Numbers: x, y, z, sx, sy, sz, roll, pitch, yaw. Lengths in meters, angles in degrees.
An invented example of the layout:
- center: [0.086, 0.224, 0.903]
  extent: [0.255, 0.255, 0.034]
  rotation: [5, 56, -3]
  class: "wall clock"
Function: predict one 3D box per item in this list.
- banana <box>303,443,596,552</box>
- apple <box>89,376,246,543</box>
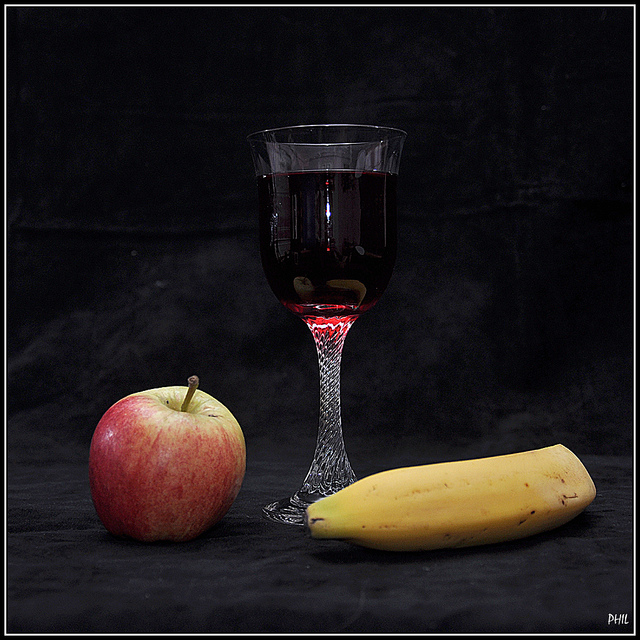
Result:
- center: [0.202, 0.255, 1.001]
  extent: [0.461, 0.106, 0.096]
  rotation: [-1, 3, -25]
  class: "banana"
- center: [-0.222, 0.198, 1.081]
  extent: [0.188, 0.257, 0.193]
  rotation: [10, 6, 35]
  class: "apple"
